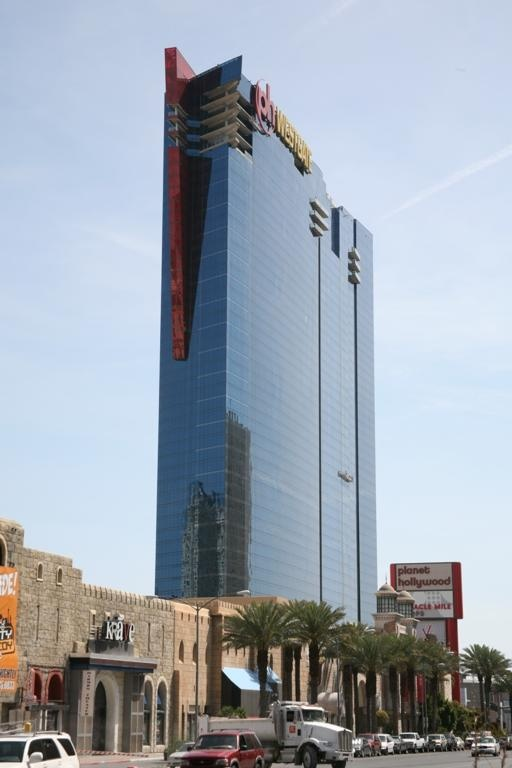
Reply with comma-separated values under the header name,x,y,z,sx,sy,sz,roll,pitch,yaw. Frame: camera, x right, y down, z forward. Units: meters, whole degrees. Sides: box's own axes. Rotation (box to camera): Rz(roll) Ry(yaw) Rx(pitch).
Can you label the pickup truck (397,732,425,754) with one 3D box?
name,x,y,z,sx,sy,sz,roll,pitch,yaw
pickup truck,11.192,25.827,75.270,1.245,0.965,2.392,-5,-30,13
